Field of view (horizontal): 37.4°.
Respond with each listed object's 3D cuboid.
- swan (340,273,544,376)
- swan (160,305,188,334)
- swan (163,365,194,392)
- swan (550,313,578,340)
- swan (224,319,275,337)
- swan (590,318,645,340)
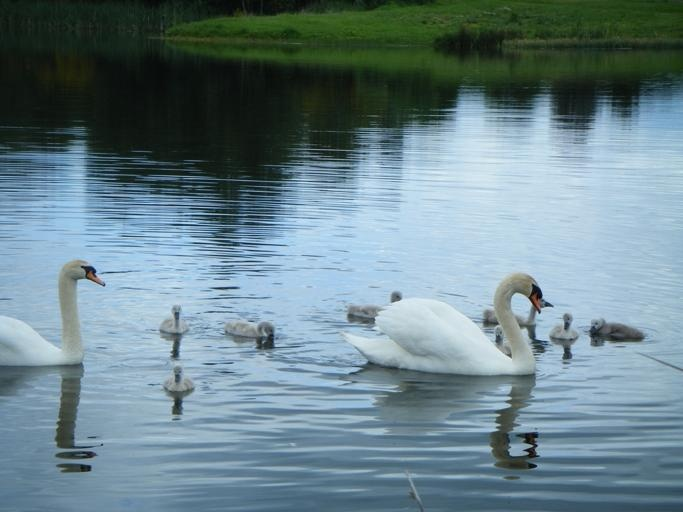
[{"bbox_3d":[1.647,1.014,15.326,2.670,1.541,0.677,2,6,5],"label":"swan"},{"bbox_3d":[-2.672,1.009,16.042,0.447,0.505,0.475,2,5,-8],"label":"swan"},{"bbox_3d":[-2.275,1.714,14.100,0.418,0.415,0.318,2,6,-9],"label":"swan"},{"bbox_3d":[3.620,1.220,16.688,0.413,0.329,0.566,0,4,5],"label":"swan"},{"bbox_3d":[-1.479,1.163,16.156,0.845,0.288,0.345,5,6,39],"label":"swan"},{"bbox_3d":[4.493,1.224,16.557,0.403,0.230,0.697,2,1,-33],"label":"swan"}]
